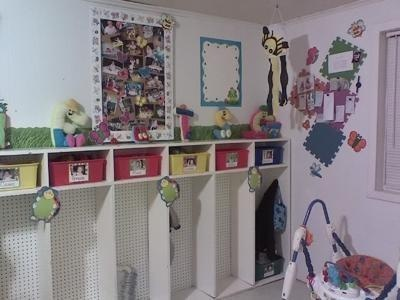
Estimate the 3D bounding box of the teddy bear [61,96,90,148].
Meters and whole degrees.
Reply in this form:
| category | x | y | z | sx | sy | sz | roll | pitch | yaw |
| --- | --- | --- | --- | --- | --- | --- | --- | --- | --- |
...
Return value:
| category | x | y | z | sx | sy | sz | roll | pitch | yaw |
| --- | --- | --- | --- | --- | --- | --- | --- | --- | --- |
| teddy bear | -1.063 | -0.206 | 2.760 | 0.247 | 0.438 | 0.247 | 6 | 14 | 22 |

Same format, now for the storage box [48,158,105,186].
| category | x | y | z | sx | sy | sz | roll | pitch | yaw |
| --- | --- | --- | --- | --- | --- | --- | --- | --- | --- |
| storage box | -0.964 | 0.139 | 2.617 | 0.303 | 0.150 | 0.199 | -4 | 4 | -36 |

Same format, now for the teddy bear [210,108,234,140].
| category | x | y | z | sx | sy | sz | roll | pitch | yaw |
| --- | --- | --- | --- | --- | --- | --- | --- | --- | --- |
| teddy bear | 0.250 | -0.271 | 3.425 | 0.324 | 0.313 | 0.173 | -8 | 10 | -43 |

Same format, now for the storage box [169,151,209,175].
| category | x | y | z | sx | sy | sz | roll | pitch | yaw |
| --- | --- | --- | --- | --- | --- | --- | --- | --- | --- |
| storage box | -0.123 | 0.097 | 3.076 | 0.262 | 0.138 | 0.188 | -4 | 5 | -36 |

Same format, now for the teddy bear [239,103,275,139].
| category | x | y | z | sx | sy | sz | roll | pitch | yaw |
| --- | --- | --- | --- | --- | --- | --- | --- | --- | --- |
| teddy bear | 0.628 | -0.302 | 3.576 | 0.353 | 0.336 | 0.270 | 0 | 7 | 8 |

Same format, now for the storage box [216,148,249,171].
| category | x | y | z | sx | sy | sz | roll | pitch | yaw |
| --- | --- | --- | --- | --- | --- | --- | --- | --- | --- |
| storage box | 0.308 | 0.078 | 3.285 | 0.258 | 0.137 | 0.180 | -4 | 5 | -31 |

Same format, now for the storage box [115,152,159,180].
| category | x | y | z | sx | sy | sz | roll | pitch | yaw |
| --- | --- | --- | --- | --- | --- | --- | --- | --- | --- |
| storage box | -0.538 | 0.116 | 2.876 | 0.293 | 0.158 | 0.201 | -3 | 4 | -36 |
